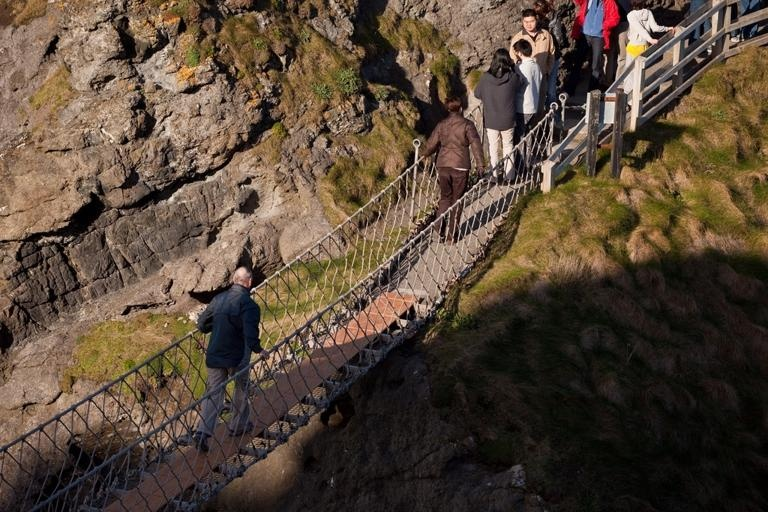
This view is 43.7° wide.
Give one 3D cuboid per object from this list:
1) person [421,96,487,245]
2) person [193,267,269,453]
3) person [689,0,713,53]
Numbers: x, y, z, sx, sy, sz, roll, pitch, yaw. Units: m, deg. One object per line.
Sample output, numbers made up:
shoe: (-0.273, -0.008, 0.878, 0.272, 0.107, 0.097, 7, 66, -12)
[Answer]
person: (1.459, -1.731, 19.972, 1.282, 3.148, 0.687, 7, 18, 26)
person: (-2.914, 1.939, 17.783, 1.306, 3.284, 1.032, -5, 17, -10)
person: (7.440, -5.550, 22.597, 0.453, 1.036, 1.339, 4, 21, 18)
